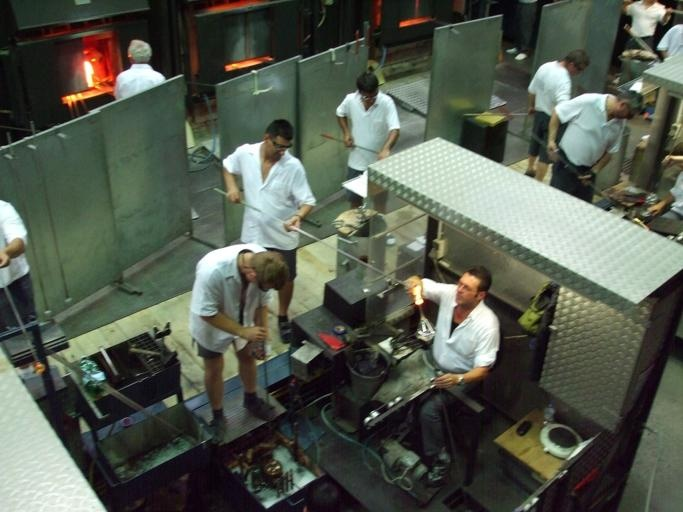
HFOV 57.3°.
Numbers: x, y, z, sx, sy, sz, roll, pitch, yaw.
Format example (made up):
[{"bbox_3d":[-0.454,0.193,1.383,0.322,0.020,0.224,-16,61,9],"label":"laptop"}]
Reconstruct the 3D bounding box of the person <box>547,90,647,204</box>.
[{"bbox_3d":[2.726,-1.225,6.873,0.809,1.256,0.279,13,37,22],"label":"person"}]

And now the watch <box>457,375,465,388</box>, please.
[{"bbox_3d":[0.753,0.799,3.963,0.037,0.058,0.054,5,-11,-6],"label":"watch"}]

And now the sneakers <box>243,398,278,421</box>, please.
[{"bbox_3d":[-0.588,1.111,4.515,0.097,0.125,0.309,-17,20,-33],"label":"sneakers"}]

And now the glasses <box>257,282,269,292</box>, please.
[{"bbox_3d":[-0.544,0.211,4.301,0.057,0.055,0.071,-51,46,-6],"label":"glasses"}]

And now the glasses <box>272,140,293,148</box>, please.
[{"bbox_3d":[-0.510,-0.950,5.300,0.147,0.043,0.146,-7,47,-28],"label":"glasses"}]

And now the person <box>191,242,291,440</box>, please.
[{"bbox_3d":[-0.719,0.607,4.573,0.704,1.451,0.962,-12,35,-14],"label":"person"}]

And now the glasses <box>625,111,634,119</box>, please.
[{"bbox_3d":[2.996,-1.468,6.487,0.044,0.061,0.060,36,82,28],"label":"glasses"}]

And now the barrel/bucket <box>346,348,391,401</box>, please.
[{"bbox_3d":[0.167,0.748,4.086,0.279,0.263,0.258,4,38,-3],"label":"barrel/bucket"}]

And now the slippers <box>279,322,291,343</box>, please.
[{"bbox_3d":[-0.528,0.714,5.744,0.104,0.081,0.264,-12,64,1],"label":"slippers"}]

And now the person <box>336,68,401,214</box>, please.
[{"bbox_3d":[0.260,-1.380,6.785,0.714,1.146,0.687,5,34,11],"label":"person"}]

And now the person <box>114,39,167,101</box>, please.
[{"bbox_3d":[-2.299,-1.942,7.129,0.540,0.969,0.516,-6,18,-32],"label":"person"}]

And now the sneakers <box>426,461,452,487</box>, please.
[{"bbox_3d":[0.564,1.277,3.681,0.120,0.114,0.115,7,-1,-31],"label":"sneakers"}]
